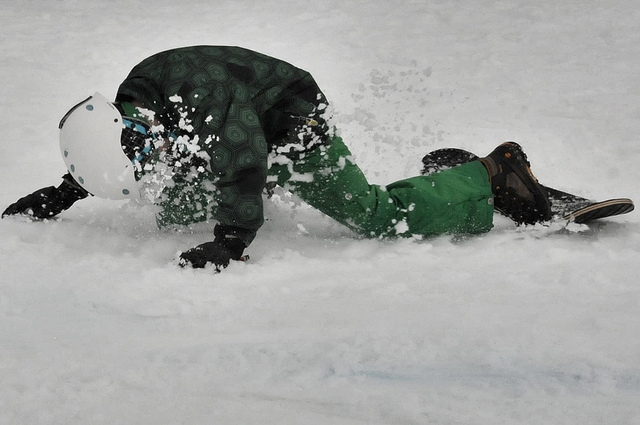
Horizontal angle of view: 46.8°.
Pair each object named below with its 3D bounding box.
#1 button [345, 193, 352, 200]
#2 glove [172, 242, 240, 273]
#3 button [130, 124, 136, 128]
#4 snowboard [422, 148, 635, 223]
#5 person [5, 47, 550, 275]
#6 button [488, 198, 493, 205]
[{"bbox_3d":[0.146,-0.084,3.699,0.034,0.030,0.007,3,4,-2],"label":"button"},{"bbox_3d":[-0.509,0.205,3.379,0.262,0.121,0.091,-3,23,12],"label":"glove"},{"bbox_3d":[-0.844,-0.392,3.355,0.021,0.015,0.007,-13,23,-11],"label":"button"},{"bbox_3d":[1.095,-0.104,4.195,1.391,0.380,0.576,4,-12,-2],"label":"snowboard"},{"bbox_3d":[-0.089,-0.306,3.680,1.948,0.679,1.247,-8,10,-31],"label":"person"},{"bbox_3d":[0.902,-0.060,3.892,0.010,0.037,0.037,13,31,44],"label":"button"}]
